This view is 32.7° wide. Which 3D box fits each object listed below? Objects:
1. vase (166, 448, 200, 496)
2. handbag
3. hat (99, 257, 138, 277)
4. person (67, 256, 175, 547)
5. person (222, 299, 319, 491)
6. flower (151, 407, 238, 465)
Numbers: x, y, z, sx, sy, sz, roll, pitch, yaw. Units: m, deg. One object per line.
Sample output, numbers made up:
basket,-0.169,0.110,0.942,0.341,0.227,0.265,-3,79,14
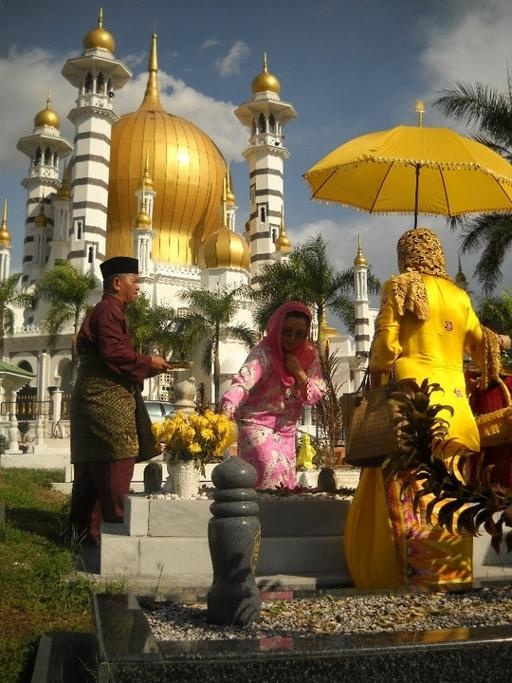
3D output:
vase,-0.460,0.875,5.714,0.269,0.269,0.247,0,-10,-1
handbag,0.566,0.404,4.263,0.147,0.420,0.608,4,-5,-10
hat,-0.951,-0.552,6.195,0.176,0.087,0.213,-16,-19,41
person,-1.005,0.540,5.956,0.596,1.681,0.486,-1,-7,35
person,0.081,0.332,5.437,0.430,1.179,0.965,-2,-7,38
flower,-0.376,0.626,5.572,0.437,0.264,0.424,4,-7,-20
